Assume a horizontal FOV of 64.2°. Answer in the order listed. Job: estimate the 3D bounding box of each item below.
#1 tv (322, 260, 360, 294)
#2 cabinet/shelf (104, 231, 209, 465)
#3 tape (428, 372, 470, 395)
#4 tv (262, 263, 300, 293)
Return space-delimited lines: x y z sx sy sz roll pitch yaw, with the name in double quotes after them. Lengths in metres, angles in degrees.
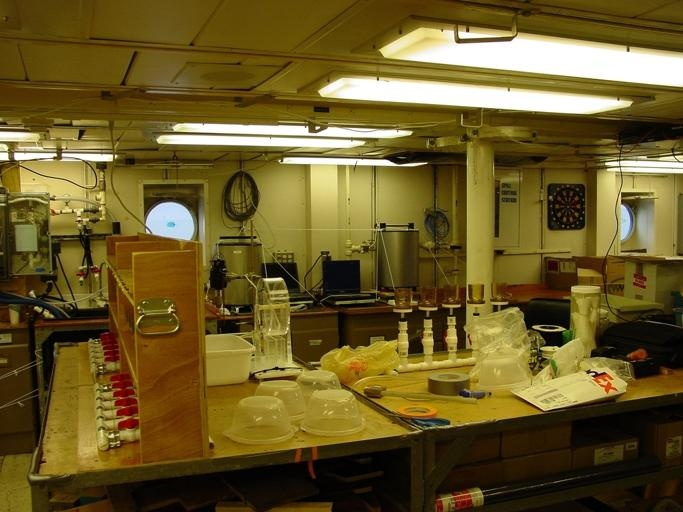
-0.020 0.235 6.027 0.485 0.315 0.057 0 -3 -10 "tv"
-0.775 0.405 2.251 0.213 0.451 1.060 1 2 -13 "cabinet/shelf"
0.556 0.662 2.833 0.144 0.046 0.126 0 5 3 "tape"
-0.585 0.195 5.083 0.423 0.280 0.133 1 -2 -25 "tv"
